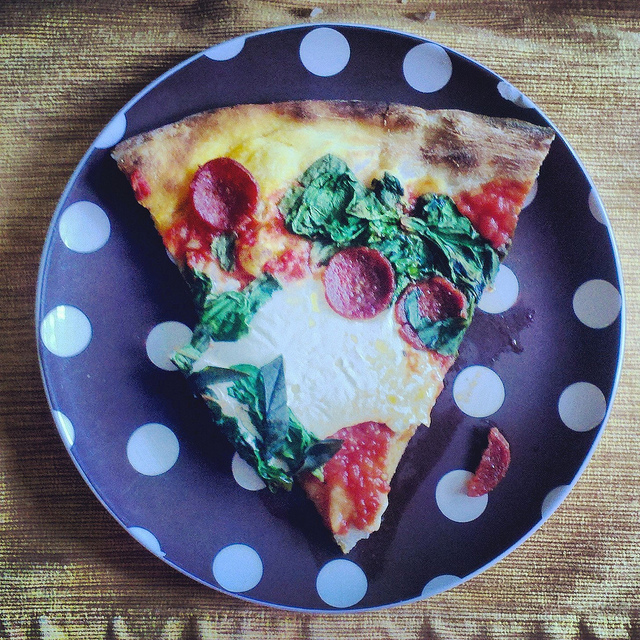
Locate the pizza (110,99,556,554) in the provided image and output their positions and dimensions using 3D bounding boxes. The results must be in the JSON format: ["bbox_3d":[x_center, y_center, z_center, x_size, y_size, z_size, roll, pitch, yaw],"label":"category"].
[{"bbox_3d":[-0.036,-0.124,1.748,0.712,0.104,0.865,28,85,2],"label":"pizza"}]
